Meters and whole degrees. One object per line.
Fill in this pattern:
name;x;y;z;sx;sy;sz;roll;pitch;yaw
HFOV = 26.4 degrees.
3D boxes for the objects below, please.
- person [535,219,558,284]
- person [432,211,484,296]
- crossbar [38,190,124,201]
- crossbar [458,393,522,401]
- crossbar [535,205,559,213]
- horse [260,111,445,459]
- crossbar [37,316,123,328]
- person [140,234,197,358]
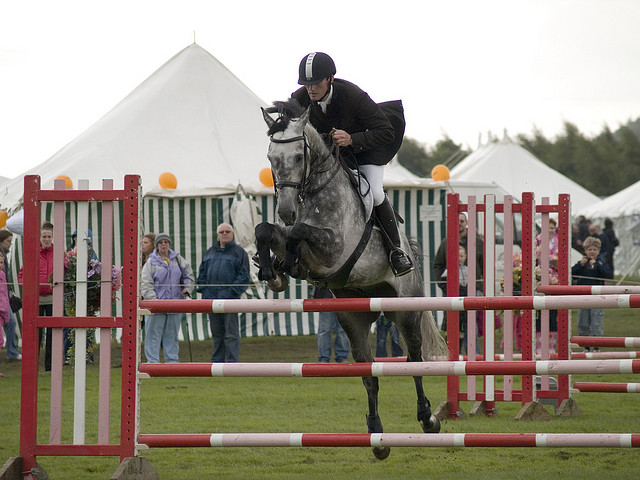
person;2.909;0.328;17.422;0.344;1.206;0.328;2;-10;8
person;1.851;0.303;17.490;0.694;1.316;0.705;-1;2;11
crossbar;-2.319;-0.434;13.166;0.660;0.107;0.090;1;4;3
crossbar;1.916;1.774;15.384;0.712;0.117;0.240;-3;-2;2
crossbar;2.547;-0.342;15.270;0.430;0.066;0.111;1;2;-10
horse;0.343;0.455;13.957;1.412;3.566;2.104;-3;-3;18
crossbar;-2.330;0.803;13.254;0.826;0.142;0.295;-2;-2;-10
person;-1.963;0.756;17.577;0.646;1.638;1.979;-2;-2;-7
